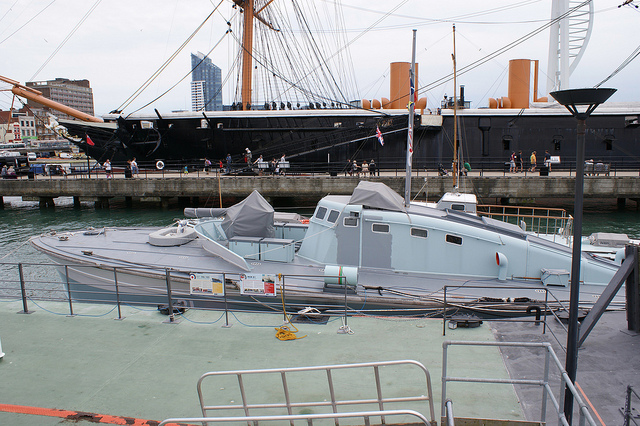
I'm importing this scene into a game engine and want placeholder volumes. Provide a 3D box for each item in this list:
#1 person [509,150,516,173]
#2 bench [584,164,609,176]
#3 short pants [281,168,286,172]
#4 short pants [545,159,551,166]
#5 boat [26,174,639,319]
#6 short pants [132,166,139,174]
[{"bbox_3d":[12.171,-3.143,50.507,0.361,1.308,2.165,3,5,14],"label":"person"},{"bbox_3d":[16.686,-2.584,48.235,1.402,0.617,0.919,4,5,26],"label":"bench"},{"bbox_3d":[-2.338,-2.627,50.085,0.247,0.177,0.370,-5,5,-16],"label":"short pants"},{"bbox_3d":[13.918,-3.015,48.858,0.467,0.455,0.252,2,-16,2],"label":"short pants"},{"bbox_3d":[1.329,1.982,33.063,26.758,6.497,8.596,3,2,4],"label":"boat"},{"bbox_3d":[-11.881,-2.673,51.231,0.343,0.445,0.477,-15,25,-12],"label":"short pants"}]
